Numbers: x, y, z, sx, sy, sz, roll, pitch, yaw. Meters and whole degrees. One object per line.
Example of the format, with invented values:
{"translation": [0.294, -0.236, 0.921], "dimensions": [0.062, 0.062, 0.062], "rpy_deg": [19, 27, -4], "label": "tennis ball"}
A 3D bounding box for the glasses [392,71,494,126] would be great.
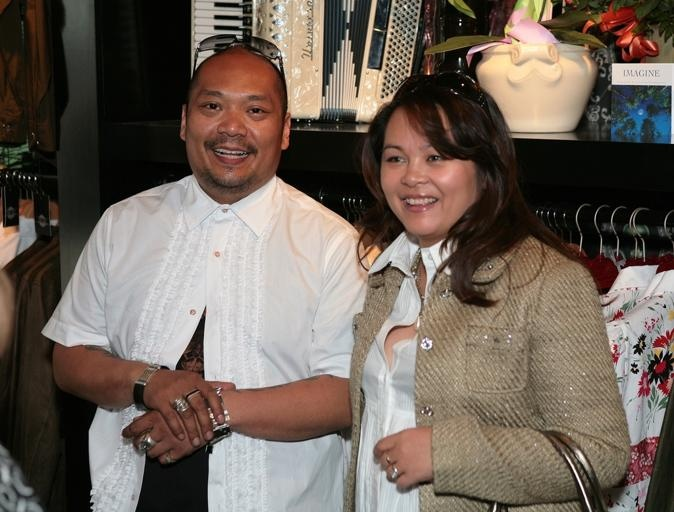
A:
{"translation": [0.277, -0.389, 1.389], "dimensions": [0.195, 0.070, 0.217], "rpy_deg": [12, 6, 34], "label": "glasses"}

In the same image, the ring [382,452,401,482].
{"translation": [0.108, 0.432, 1.161], "dimensions": [0.016, 0.051, 0.036], "rpy_deg": [-24, -19, -12], "label": "ring"}

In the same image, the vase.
{"translation": [0.572, -0.487, 1.630], "dimensions": [0.307, 0.228, 0.295], "rpy_deg": [7, 12, 43], "label": "vase"}

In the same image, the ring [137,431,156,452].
{"translation": [-0.482, 0.467, 1.410], "dimensions": [0.049, 0.049, 0.020], "rpy_deg": [8, 19, 26], "label": "ring"}

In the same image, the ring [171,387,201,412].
{"translation": [-0.370, 0.338, 1.364], "dimensions": [0.053, 0.027, 0.045], "rpy_deg": [-51, 15, -20], "label": "ring"}

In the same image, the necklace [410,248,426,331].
{"translation": [0.206, 0.076, 1.389], "dimensions": [0.023, 0.031, 0.228], "rpy_deg": [-12, 48, 27], "label": "necklace"}
